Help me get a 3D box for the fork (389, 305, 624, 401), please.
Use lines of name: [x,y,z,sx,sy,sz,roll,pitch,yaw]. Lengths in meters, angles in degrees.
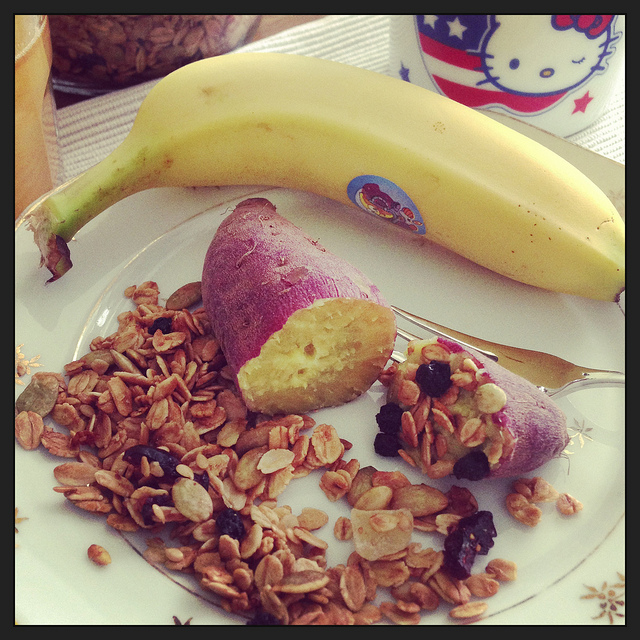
fork: [0.248,0.047,0.946,0.270,0.040,0.041,17,76,7]
